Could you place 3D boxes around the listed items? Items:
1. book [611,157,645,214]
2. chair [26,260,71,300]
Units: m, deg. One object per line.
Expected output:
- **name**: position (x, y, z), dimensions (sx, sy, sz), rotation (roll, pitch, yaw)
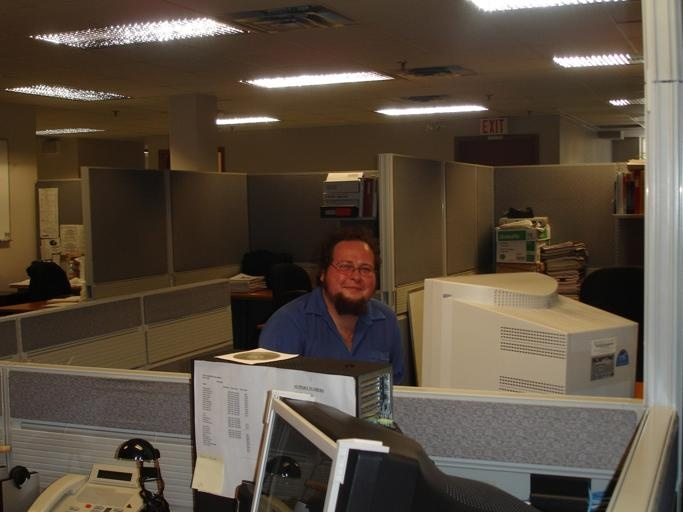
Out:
- **book**: position (2.686, -0.639, 5.318), dimensions (0.230, 0.511, 0.617), rotation (0, 5, 24)
- **chair**: position (-3.324, 0.380, 6.424), dimensions (0.447, 0.634, 0.331), rotation (-7, -16, -27)
